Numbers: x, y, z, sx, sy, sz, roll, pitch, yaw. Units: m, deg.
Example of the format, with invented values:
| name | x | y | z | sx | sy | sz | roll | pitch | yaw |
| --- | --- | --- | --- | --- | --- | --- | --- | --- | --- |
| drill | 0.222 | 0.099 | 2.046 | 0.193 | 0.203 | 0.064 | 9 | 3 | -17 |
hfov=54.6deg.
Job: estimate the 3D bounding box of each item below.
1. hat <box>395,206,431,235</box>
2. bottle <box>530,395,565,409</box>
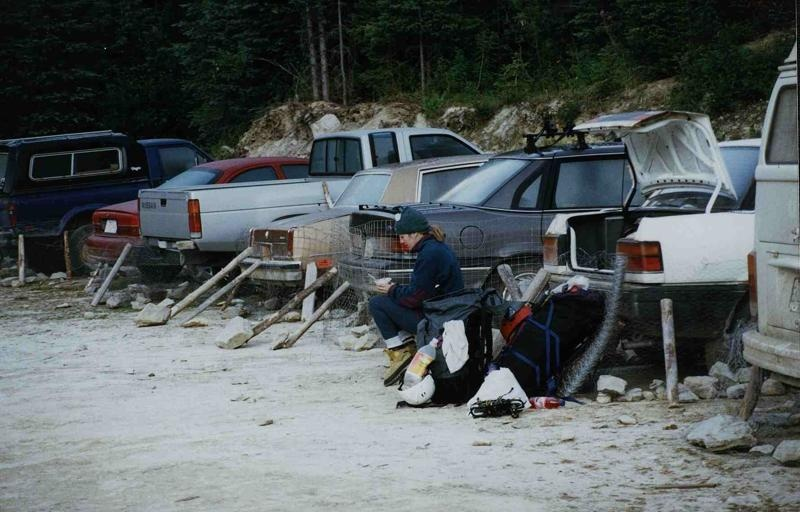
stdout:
| name | x | y | z | sx | sy | sz | roll | pitch | yaw |
| --- | --- | --- | --- | --- | --- | --- | --- | --- | --- |
| hat | 0.128 | -0.419 | 9.056 | 0.405 | 0.276 | 0.288 | -4 | 1 | 19 |
| bottle | 1.523 | 1.522 | 8.042 | 0.375 | 0.090 | 0.198 | -2 | 12 | 3 |
